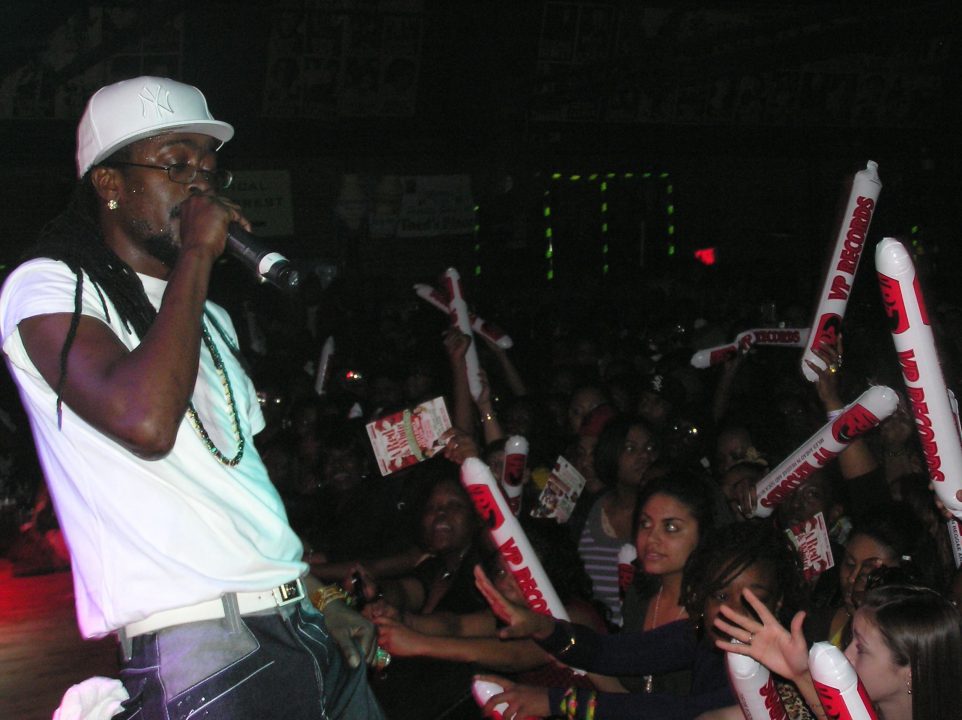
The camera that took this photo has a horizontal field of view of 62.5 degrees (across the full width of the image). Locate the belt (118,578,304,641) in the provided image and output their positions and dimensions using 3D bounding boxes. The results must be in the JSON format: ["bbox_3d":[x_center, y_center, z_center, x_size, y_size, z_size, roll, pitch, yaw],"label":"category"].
[{"bbox_3d":[-0.845,0.759,2.404,0.243,0.061,0.245,-5,1,35],"label":"belt"}]

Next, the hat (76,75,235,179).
[{"bbox_3d":[-1.155,-0.836,2.726,0.562,0.257,0.443,-3,17,44],"label":"hat"}]
